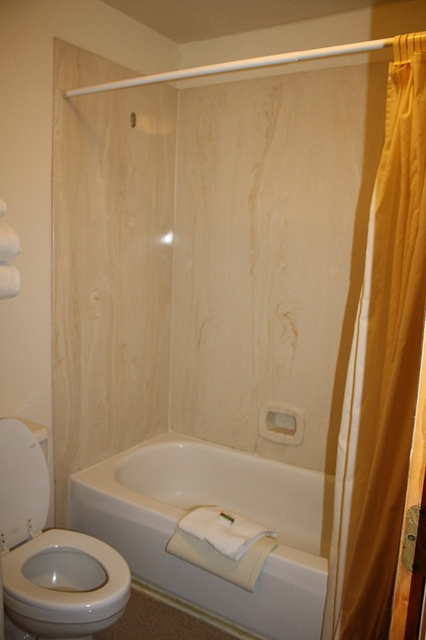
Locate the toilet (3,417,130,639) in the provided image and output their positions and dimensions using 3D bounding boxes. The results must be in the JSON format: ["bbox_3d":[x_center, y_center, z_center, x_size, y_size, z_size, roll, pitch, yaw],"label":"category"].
[{"bbox_3d":[-0.521,0.623,1.697,0.363,0.585,0.593,-5,11,-43],"label":"toilet"}]

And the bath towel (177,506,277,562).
[{"bbox_3d":[0.058,0.697,1.886,0.311,0.128,0.230,9,9,40],"label":"bath towel"}]

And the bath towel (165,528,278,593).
[{"bbox_3d":[0.040,0.828,1.921,0.349,0.119,0.306,10,8,30],"label":"bath towel"}]
